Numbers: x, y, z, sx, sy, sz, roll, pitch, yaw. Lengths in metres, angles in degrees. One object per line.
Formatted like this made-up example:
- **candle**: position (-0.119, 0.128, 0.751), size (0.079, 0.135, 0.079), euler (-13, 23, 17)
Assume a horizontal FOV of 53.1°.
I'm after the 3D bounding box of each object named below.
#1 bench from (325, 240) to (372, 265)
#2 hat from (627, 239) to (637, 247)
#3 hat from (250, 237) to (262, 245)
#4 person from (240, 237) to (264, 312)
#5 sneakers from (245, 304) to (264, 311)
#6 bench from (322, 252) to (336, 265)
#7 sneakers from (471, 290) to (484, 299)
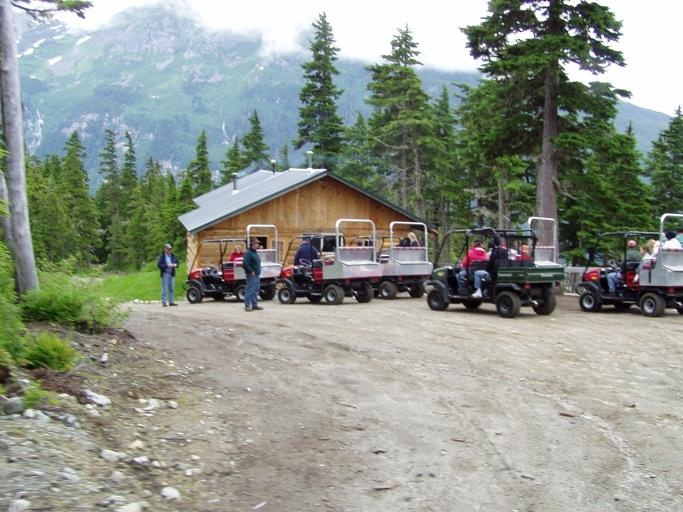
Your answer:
- **bench**: position (0.145, 0.024, 20.970), size (0.682, 0.450, 0.974), euler (-12, -8, 37)
- **hat**: position (7.788, -0.351, 18.262), size (0.174, 0.198, 0.251), euler (3, 4, 14)
- **hat**: position (-2.764, -0.504, 21.981), size (0.488, 0.217, 0.706), euler (0, 1, -19)
- **person**: position (-2.464, 0.517, 18.964), size (0.552, 2.007, 1.360), euler (3, 10, -7)
- **sneakers**: position (-2.428, 1.434, 18.949), size (0.530, 0.235, 0.184), euler (-5, 5, -9)
- **bench**: position (-0.392, 0.066, 21.009), size (0.376, 0.104, 0.363), euler (3, 34, 5)
- **sneakers**: position (3.593, 1.005, 18.026), size (0.118, 0.216, 0.301), euler (1, 2, -22)
